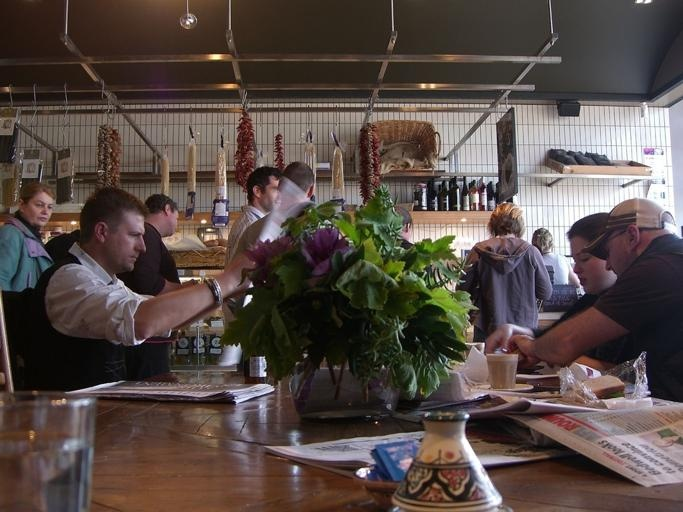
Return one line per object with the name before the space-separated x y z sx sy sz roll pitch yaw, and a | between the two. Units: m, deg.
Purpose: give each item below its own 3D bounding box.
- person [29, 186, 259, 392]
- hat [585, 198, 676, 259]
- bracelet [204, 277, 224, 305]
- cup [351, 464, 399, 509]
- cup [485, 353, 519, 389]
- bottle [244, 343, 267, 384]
person | -0.727 0.103 2.029 0.787 0.737 0.415 0 -1 40
hat | 1.045 -0.075 2.140 0.263 0.171 0.178 -9 -15 40
bracelet | -0.381 0.107 1.810 0.025 0.072 0.069 -13 -4 -21
cup | 0.042 0.295 0.766 0.043 0.023 0.057 1 -27 29
cup | 0.415 0.302 1.537 0.079 0.098 0.082 -3 -5 0
bottle | -0.275 0.355 1.896 0.073 0.102 0.265 0 0 -10
